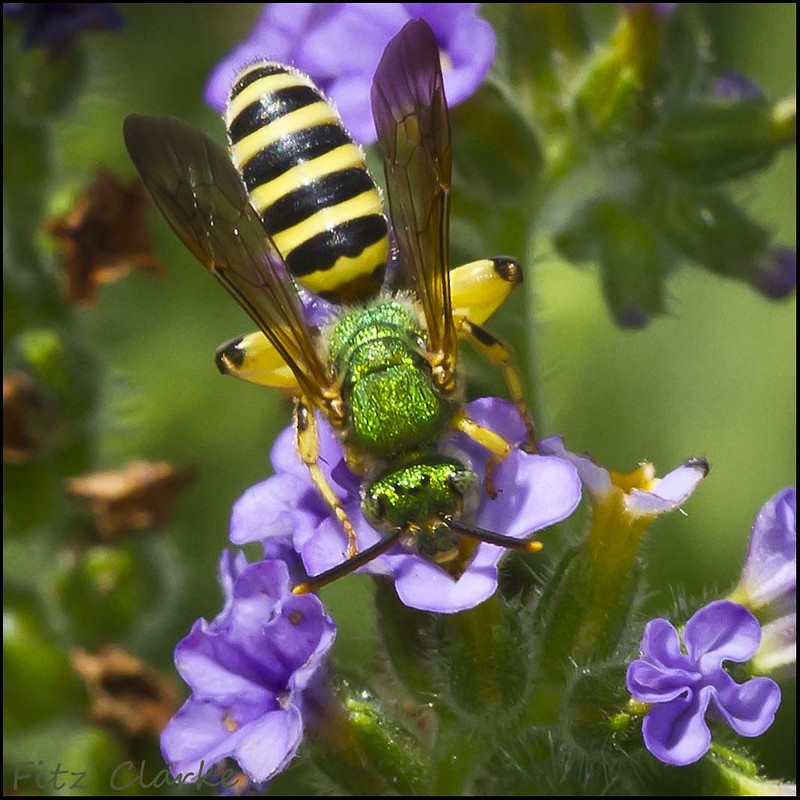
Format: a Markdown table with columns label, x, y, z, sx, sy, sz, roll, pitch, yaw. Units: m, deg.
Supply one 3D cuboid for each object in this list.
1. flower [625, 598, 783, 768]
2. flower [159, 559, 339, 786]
| label | x | y | z | sx | sy | sz | roll | pitch | yaw |
| --- | --- | --- | --- | --- | --- | --- | --- | --- | --- |
| flower | 0.413 | 0.386 | 1.597 | 0.201 | 0.070 | 0.188 | -21 | 69 | 5 |
| flower | -0.211 | 0.395 | 1.661 | 0.210 | 0.130 | 0.359 | 9 | 86 | 19 |
